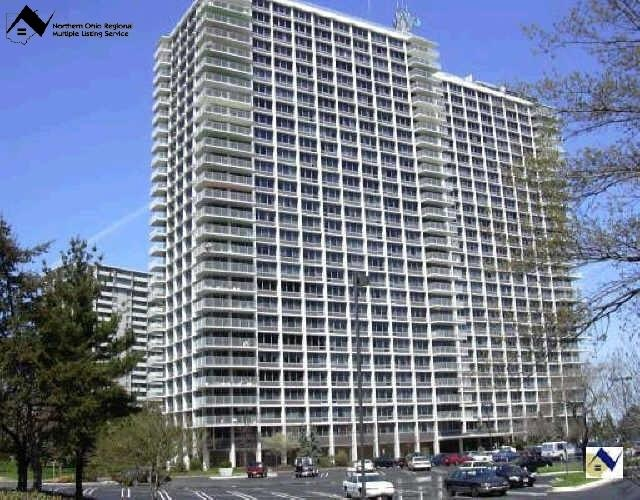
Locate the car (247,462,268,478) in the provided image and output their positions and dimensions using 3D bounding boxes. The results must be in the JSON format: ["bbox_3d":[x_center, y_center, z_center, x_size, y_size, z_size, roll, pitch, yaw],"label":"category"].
[{"bbox_3d":[-7.206,25.231,96.388,2.129,1.768,2.293,-8,-16,6],"label":"car"}]

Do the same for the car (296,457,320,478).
[{"bbox_3d":[-1.524,24.573,95.354,1.838,1.924,3.143,-1,-12,6],"label":"car"}]
